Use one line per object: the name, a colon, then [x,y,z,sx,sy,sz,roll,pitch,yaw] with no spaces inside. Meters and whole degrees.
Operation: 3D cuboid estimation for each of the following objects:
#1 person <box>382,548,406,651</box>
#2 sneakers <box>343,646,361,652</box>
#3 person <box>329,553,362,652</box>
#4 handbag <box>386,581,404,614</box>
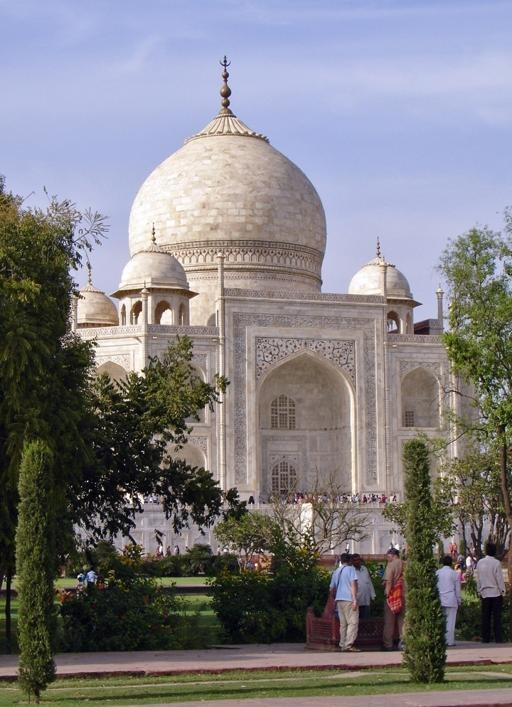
person: [1.250,2.290,18.238,0.296,0.917,0.226,2,0,-42]
sneakers: [0.852,2.727,17.783,0.163,0.077,0.059,-2,-6,-17]
person: [0.783,2.291,17.753,0.245,0.872,0.518,0,-9,2]
handbag: [1.267,2.282,18.031,0.073,0.264,0.189,22,-27,-29]
